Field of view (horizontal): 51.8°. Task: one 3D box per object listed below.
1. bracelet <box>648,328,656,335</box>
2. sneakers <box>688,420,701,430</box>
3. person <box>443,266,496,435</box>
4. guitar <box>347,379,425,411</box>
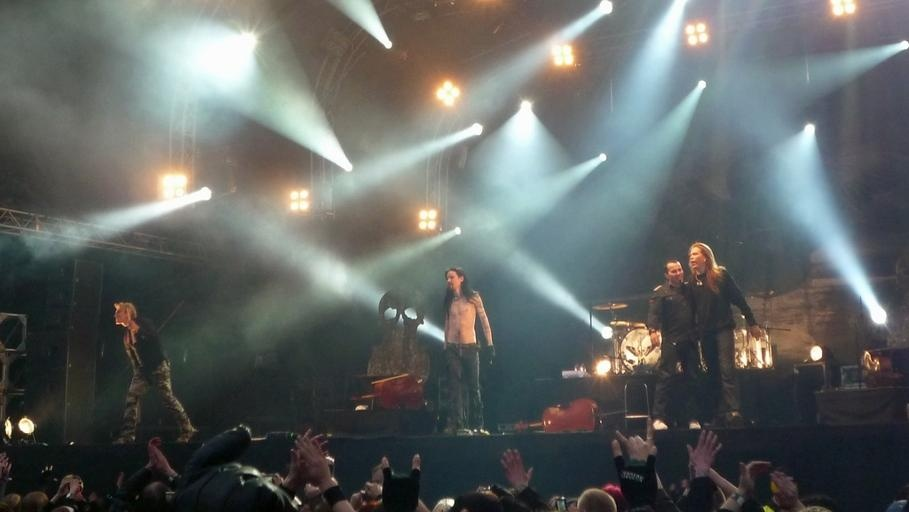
[{"bbox_3d":[4.289,1.638,20.364,0.122,0.132,0.142,3,4,39],"label":"bracelet"},{"bbox_3d":[5.030,3.580,19.589,0.194,0.190,0.315,-33,-15,16],"label":"sneakers"},{"bbox_3d":[0.232,2.162,20.955,0.949,3.637,1.141,-1,-21,-9],"label":"person"},{"bbox_3d":[-1.421,3.163,21.156,0.876,0.555,1.150,18,-29,-34],"label":"guitar"}]
